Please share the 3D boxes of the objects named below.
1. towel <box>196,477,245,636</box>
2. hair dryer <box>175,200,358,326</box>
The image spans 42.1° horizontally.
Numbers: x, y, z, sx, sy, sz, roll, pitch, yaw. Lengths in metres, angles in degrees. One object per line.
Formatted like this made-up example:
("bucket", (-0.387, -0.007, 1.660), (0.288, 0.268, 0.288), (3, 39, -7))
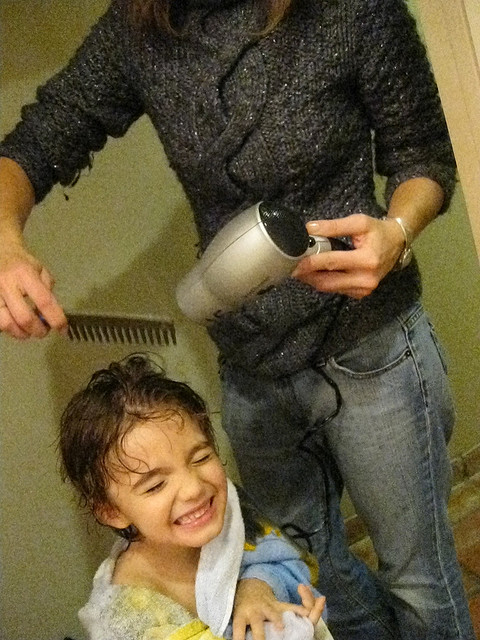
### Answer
("towel", (-0.025, 0.326, 0.829), (0.060, 0.134, 0.096), (-7, 30, -21))
("hair dryer", (0.043, -0.056, 0.765), (0.153, 0.209, 0.081), (-41, 58, 33))
